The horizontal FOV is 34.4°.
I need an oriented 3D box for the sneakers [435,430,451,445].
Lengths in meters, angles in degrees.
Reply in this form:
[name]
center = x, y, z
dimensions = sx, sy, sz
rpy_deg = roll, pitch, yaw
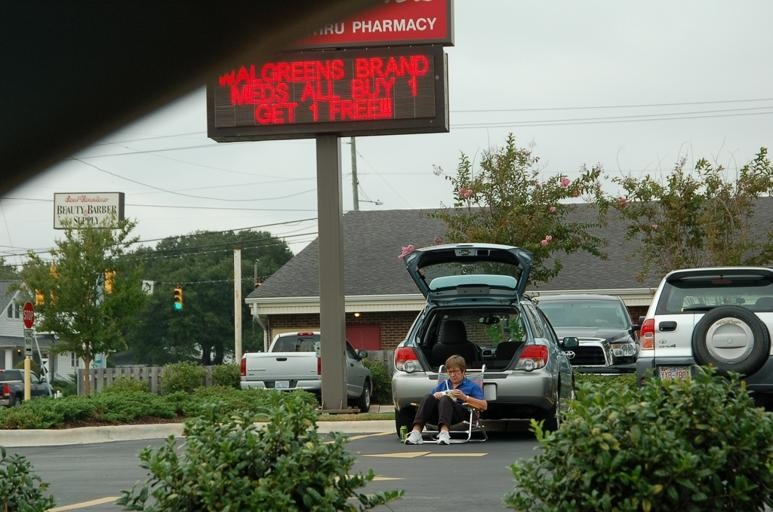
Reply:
[sneakers]
center = 0.719, 2.287, 15.787
dimensions = 0.177, 0.172, 0.256
rpy_deg = -1, -6, 1

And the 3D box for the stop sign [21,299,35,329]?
[stop sign]
center = -7.441, 1.212, 25.911
dimensions = 0.184, 0.615, 1.123
rpy_deg = 1, -6, -16

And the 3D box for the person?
[person]
center = 0.738, 1.796, 15.861
dimensions = 0.800, 1.058, 1.418
rpy_deg = -4, -6, 26

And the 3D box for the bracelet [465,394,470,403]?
[bracelet]
center = 1.021, 1.785, 15.665
dimensions = 0.067, 0.066, 0.050
rpy_deg = -1, -6, 2

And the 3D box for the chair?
[chair]
center = 0.915, 1.859, 15.843
dimensions = 0.642, 0.791, 0.940
rpy_deg = -2, 14, 19

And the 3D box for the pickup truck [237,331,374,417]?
[pickup truck]
center = -1.621, 2.263, 24.178
dimensions = 1.425, 1.152, 2.769
rpy_deg = -1, -2, 13

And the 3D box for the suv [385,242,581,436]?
[suv]
center = 1.477, 0.999, 17.541
dimensions = 1.947, 1.955, 3.426
rpy_deg = -1, 0, 10
